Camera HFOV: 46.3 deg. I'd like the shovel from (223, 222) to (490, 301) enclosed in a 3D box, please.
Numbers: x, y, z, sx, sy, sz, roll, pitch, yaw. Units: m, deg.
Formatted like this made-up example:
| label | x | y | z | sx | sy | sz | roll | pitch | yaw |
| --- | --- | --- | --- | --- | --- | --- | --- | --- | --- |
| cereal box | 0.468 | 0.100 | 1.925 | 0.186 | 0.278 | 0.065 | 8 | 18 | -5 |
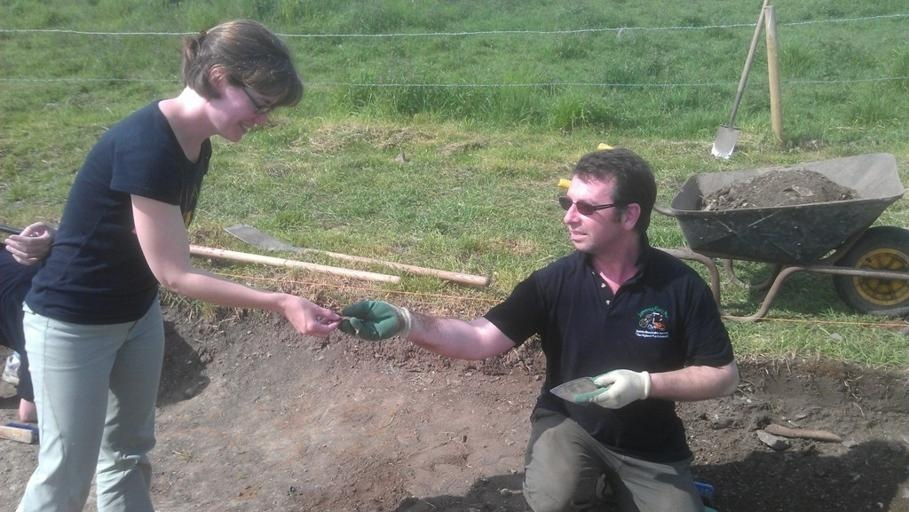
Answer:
| label | x | y | z | sx | sy | sz | roll | pitch | yaw |
| --- | --- | --- | --- | --- | --- | --- | --- | --- | --- |
| shovel | -1.383 | 0.105 | 14.685 | 3.467 | 0.224 | 0.542 | 10 | 14 | 6 |
